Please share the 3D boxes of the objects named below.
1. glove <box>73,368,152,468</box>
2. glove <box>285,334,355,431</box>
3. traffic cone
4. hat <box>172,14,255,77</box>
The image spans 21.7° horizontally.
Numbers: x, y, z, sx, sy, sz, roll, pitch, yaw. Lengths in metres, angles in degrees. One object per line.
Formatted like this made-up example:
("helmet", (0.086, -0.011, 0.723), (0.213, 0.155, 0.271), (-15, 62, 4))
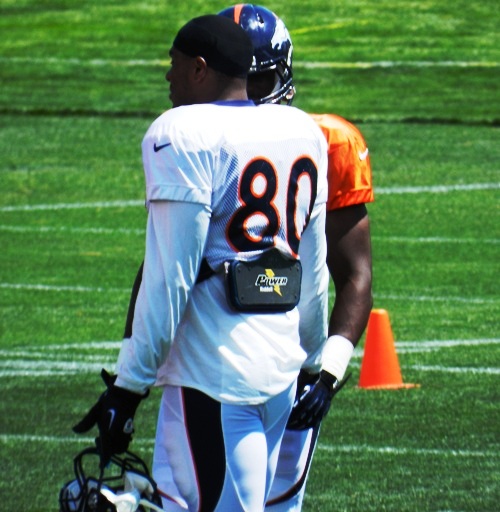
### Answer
("glove", (-0.520, 0.628, 5.077), (0.274, 0.378, 0.345), (1, 17, -1))
("glove", (0.302, 0.524, 5.447), (0.166, 0.170, 0.512), (8, 54, 31))
("traffic cone", (0.772, 0.548, 7.616), (0.315, 0.421, 0.394), (-3, -5, -9))
("hat", (-0.144, -0.834, 5.240), (0.272, 0.192, 0.213), (25, 38, 12))
